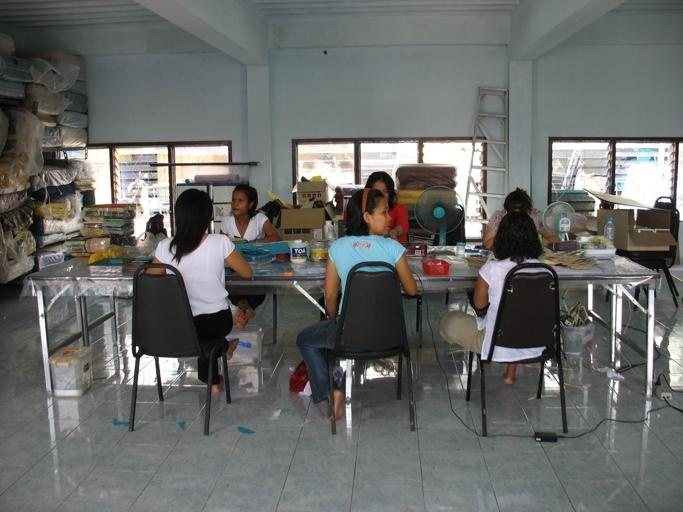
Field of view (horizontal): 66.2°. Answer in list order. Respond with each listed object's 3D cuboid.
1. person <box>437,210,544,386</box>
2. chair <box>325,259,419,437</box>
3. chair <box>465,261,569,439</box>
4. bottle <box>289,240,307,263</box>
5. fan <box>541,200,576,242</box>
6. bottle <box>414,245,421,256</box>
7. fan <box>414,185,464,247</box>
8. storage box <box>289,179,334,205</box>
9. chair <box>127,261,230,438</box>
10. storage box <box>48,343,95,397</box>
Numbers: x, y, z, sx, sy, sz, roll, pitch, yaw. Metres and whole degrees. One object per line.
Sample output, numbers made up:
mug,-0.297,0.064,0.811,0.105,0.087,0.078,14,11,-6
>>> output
person,1.168,0.293,3.597,0.859,1.136,0.648,1,3,-17
chair,0.198,0.544,3.445,0.585,1.126,0.430,-1,13,-2
chair,1.191,0.539,3.444,0.663,1.098,0.657,2,13,10
bottle,-0.345,-0.034,4.173,0.158,0.172,0.157,1,8,1
fan,1.914,-0.300,4.691,0.284,0.341,0.136,2,2,9
bottle,0.633,-0.043,4.333,0.060,0.060,0.112,2,-6,3
fan,0.913,-0.325,4.885,0.452,0.695,0.246,-4,24,8
storage box,-0.410,-0.863,7.275,0.583,0.368,0.382,-1,3,3
chair,-1.129,0.556,3.489,0.644,1.107,0.479,1,13,8
storage box,-2.046,0.878,3.981,0.262,0.291,0.401,-1,3,-10
